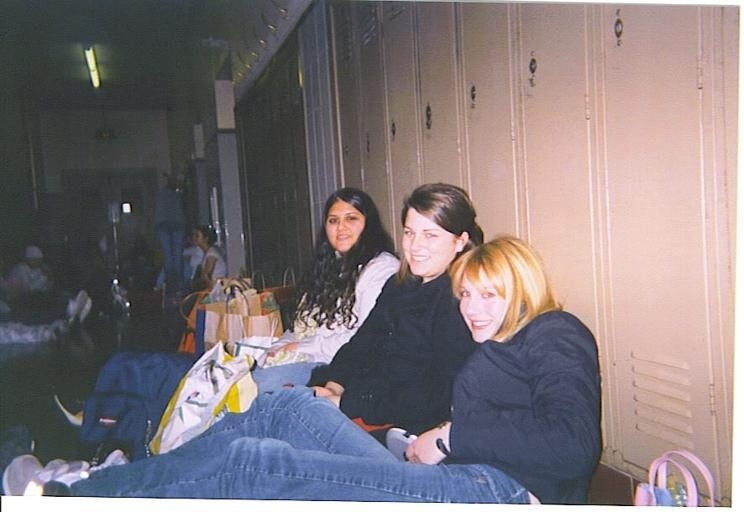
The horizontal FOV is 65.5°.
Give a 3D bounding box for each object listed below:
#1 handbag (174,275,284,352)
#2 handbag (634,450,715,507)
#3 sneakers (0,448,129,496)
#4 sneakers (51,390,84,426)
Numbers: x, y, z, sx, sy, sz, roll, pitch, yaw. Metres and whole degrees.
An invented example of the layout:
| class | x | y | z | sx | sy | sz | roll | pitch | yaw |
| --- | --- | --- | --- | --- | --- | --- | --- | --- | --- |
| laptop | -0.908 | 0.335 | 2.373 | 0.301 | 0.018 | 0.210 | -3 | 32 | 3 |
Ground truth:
| class | x | y | z | sx | sy | sz | roll | pitch | yaw |
| --- | --- | --- | --- | --- | --- | --- | --- | --- | --- |
| handbag | -0.709 | 0.272 | 2.820 | 0.356 | 0.307 | 0.158 | 0 | 23 | -5 |
| handbag | 1.317 | 0.950 | 2.557 | 0.292 | 0.282 | 0.265 | 4 | -8 | 20 |
| sneakers | -1.557 | 1.075 | 2.960 | 0.517 | 0.261 | 0.231 | -2 | -16 | -3 |
| sneakers | -1.484 | 0.747 | 2.879 | 0.122 | 0.160 | 0.058 | -34 | 7 | 32 |
